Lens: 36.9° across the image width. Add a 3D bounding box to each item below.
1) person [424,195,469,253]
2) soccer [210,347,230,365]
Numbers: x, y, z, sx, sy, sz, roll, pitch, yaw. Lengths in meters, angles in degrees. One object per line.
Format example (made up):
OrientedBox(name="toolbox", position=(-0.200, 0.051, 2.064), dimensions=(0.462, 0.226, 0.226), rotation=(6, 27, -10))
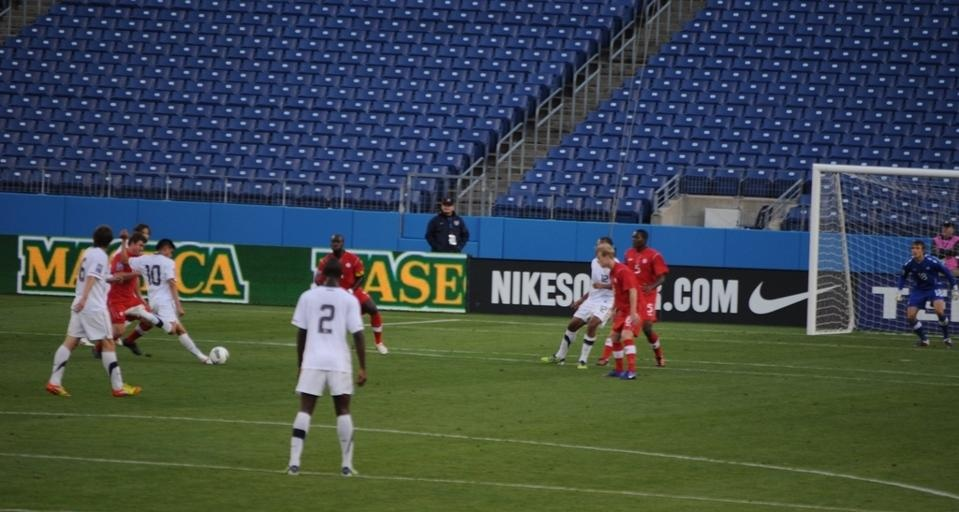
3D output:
OrientedBox(name="person", position=(-1.292, -0.570, 53.427), dimensions=(1.740, 2.815, 0.920), rotation=(-1, 1, -21))
OrientedBox(name="soccer", position=(-8.189, 3.102, 44.951), dimensions=(0.638, 0.524, 0.561), rotation=(-17, -24, -8))
